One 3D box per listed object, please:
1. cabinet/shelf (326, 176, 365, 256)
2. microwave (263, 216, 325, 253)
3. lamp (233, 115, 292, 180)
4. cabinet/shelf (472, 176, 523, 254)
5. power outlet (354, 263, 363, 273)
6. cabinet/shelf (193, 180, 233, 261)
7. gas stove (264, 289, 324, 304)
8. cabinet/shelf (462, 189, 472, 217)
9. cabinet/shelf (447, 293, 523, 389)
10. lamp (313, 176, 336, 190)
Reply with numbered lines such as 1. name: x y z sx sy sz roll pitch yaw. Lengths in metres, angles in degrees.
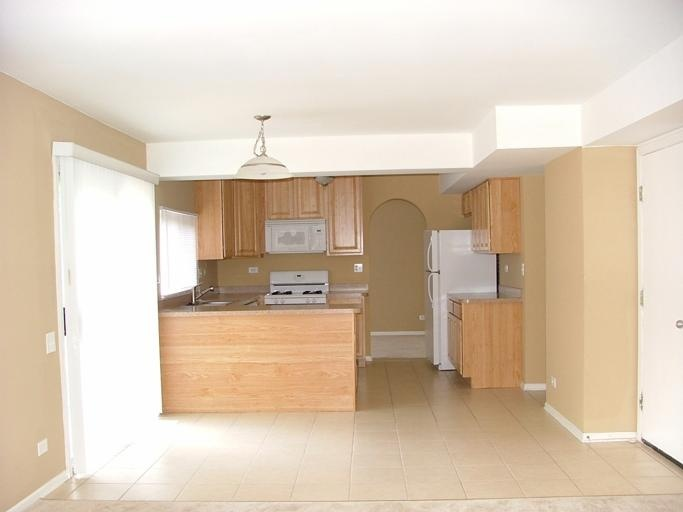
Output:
1. cabinet/shelf: 0.008 -0.548 6.799 0.517 1.077 0.129 -3 6 -20
2. microwave: -0.541 -0.228 7.000 0.852 0.468 0.532 -1 -5 16
3. lamp: -0.662 -0.914 4.361 0.512 0.478 0.520 1 16 -2
4. cabinet/shelf: 1.739 -0.452 5.784 0.359 0.767 0.869 0 1 0
5. power outlet: 0.227 0.160 7.084 0.127 0.108 0.063 1 4 7
6. cabinet/shelf: -1.578 -0.467 6.530 0.379 0.969 0.575 -3 2 3
7. gas stove: -0.596 0.540 6.731 0.806 0.096 0.759 -2 8 -1
8. cabinet/shelf: 1.608 -0.668 6.738 0.111 0.325 0.589 0 8 13
9. cabinet/shelf: 1.678 1.014 6.288 0.878 0.902 1.081 1 -6 -5
10. lamp: -0.229 -0.937 6.613 0.230 0.050 0.217 1 -9 -23
